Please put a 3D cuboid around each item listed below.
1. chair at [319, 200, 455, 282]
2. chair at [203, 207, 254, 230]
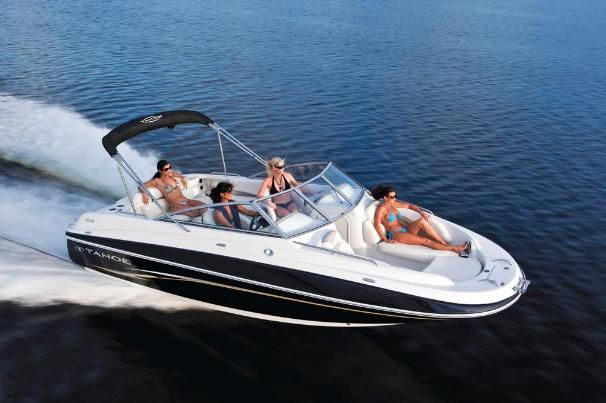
[{"bbox_3d":[2.051,0.715,11.121,3.187,0.754,1.471,18,41,20],"label":"chair"},{"bbox_3d":[-1.589,0.315,10.369,1.003,0.509,0.400,-2,28,14],"label":"chair"}]
